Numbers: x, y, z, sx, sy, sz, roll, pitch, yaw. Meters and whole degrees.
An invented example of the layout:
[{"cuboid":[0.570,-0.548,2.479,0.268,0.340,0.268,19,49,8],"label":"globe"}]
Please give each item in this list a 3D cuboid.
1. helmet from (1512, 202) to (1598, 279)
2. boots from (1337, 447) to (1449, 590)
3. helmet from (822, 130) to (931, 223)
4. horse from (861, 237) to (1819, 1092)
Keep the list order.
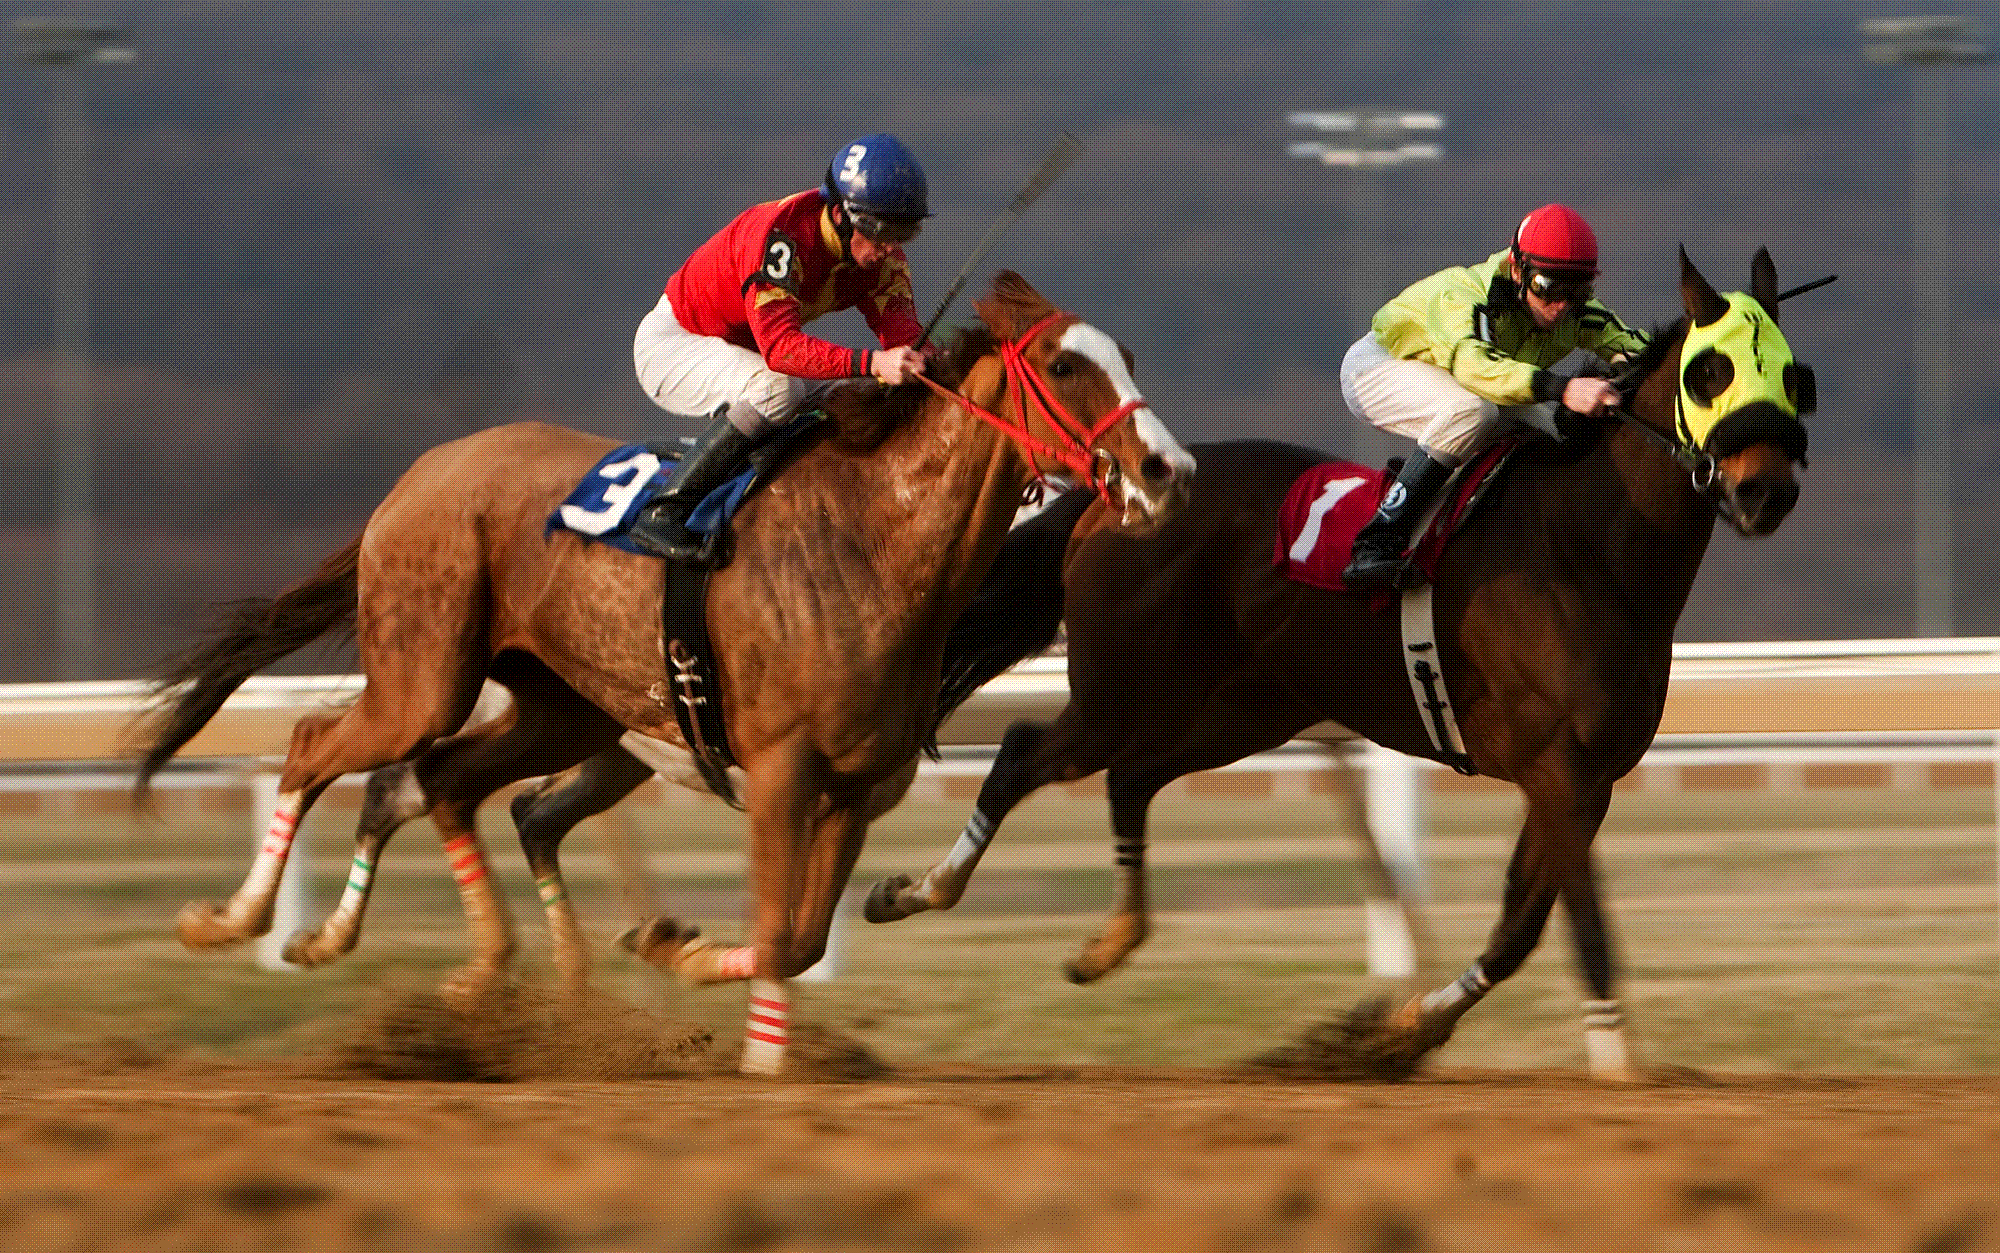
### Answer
[{"cuboid":[2.388,-1.646,14.345,0.396,0.181,0.273,11,18,13],"label":"helmet"},{"cuboid":[1.707,-0.429,14.416,0.289,0.773,0.243,31,-21,3],"label":"boots"},{"cuboid":[-0.527,-1.866,13.979,0.370,0.214,0.403,-5,43,-22],"label":"helmet"},{"cuboid":[1.707,0.178,15.069,1.357,3.582,5.808,1,1,-39],"label":"horse"}]
